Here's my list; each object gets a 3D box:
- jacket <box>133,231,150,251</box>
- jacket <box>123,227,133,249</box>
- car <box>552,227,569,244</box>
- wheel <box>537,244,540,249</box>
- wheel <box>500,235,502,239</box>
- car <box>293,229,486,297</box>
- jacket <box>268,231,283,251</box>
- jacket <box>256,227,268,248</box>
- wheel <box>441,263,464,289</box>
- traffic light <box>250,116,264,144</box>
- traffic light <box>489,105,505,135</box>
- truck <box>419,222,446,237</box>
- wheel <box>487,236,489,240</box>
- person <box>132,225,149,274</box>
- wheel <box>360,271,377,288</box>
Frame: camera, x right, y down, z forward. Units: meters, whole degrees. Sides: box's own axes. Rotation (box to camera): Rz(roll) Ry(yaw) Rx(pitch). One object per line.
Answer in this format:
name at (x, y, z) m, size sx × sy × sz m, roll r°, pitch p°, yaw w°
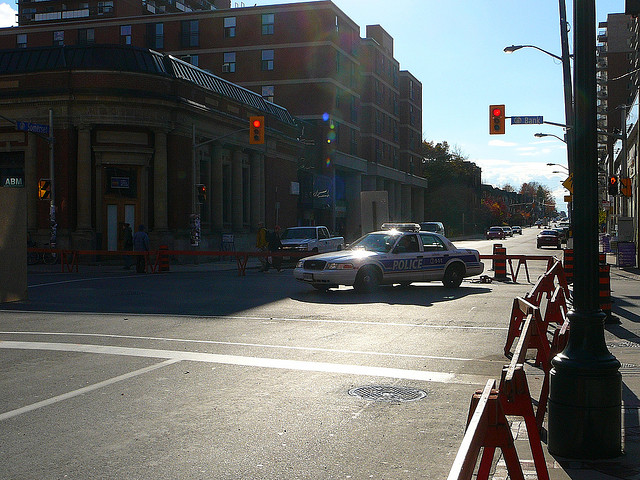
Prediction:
jacket at (-7.703, 0.041, 29.395) m, size 0.591 × 0.853 × 0.756 m, roll -1°, pitch -1°, yaw -20°
jacket at (-9.126, -0.097, 32.416) m, size 0.375 × 0.980 × 0.983 m, roll -1°, pitch -1°, yaw -16°
car at (20.941, -0.373, 59.587) m, size 1.447 × 1.443 × 2.721 m, roll 0°, pitch 7°, yaw 18°
wheel at (18.534, 0.560, 58.091) m, size 0.075 × 0.332 × 0.322 m, roll 6°, pitch -1°, yaw -16°
wheel at (24.131, -0.407, 91.319) m, size 0.215 × 0.507 × 0.492 m, roll 0°, pitch 0°, yaw 23°
car at (2.272, 0.708, 20.702) m, size 5.136 × 1.782 × 2.176 m, roll 4°, pitch -4°, yaw -35°
jacket at (-2.067, 0.073, 31.417) m, size 0.571 × 1.176 × 0.810 m, roll -3°, pitch -2°, yaw 25°
jacket at (-2.619, -0.078, 30.458) m, size 0.377 × 0.833 × 0.549 m, roll -1°, pitch -1°, yaw -9°
wheel at (4.093, 1.081, 21.213) m, size 0.714 × 0.795 × 0.248 m, roll 2°, pitch -2°, yaw -45°
traffic light at (-2.920, -5.058, 31.283) m, size 0.547 × 1.184 × 0.628 m, roll -1°, pitch -1°, yaw -15°
traffic light at (7.890, -5.373, 30.533) m, size 0.602 × 1.296 × 0.317 m, roll -1°, pitch -1°, yaw 2°
truck at (8.467, -0.952, 51.092) m, size 1.498 × 1.402 × 3.250 m, roll -1°, pitch -4°, yaw 20°
wheel at (22.118, -0.201, 90.070) m, size 0.242 × 0.322 × 0.263 m, roll 0°, pitch 2°, yaw 0°
person at (-7.670, 0.377, 29.179) m, size 0.559 × 2.073 × 1.312 m, roll -1°, pitch -1°, yaw -16°
wheel at (1.368, 1.138, 19.671) m, size 0.551 × 0.476 × 0.128 m, roll 0°, pitch -1°, yaw -31°
